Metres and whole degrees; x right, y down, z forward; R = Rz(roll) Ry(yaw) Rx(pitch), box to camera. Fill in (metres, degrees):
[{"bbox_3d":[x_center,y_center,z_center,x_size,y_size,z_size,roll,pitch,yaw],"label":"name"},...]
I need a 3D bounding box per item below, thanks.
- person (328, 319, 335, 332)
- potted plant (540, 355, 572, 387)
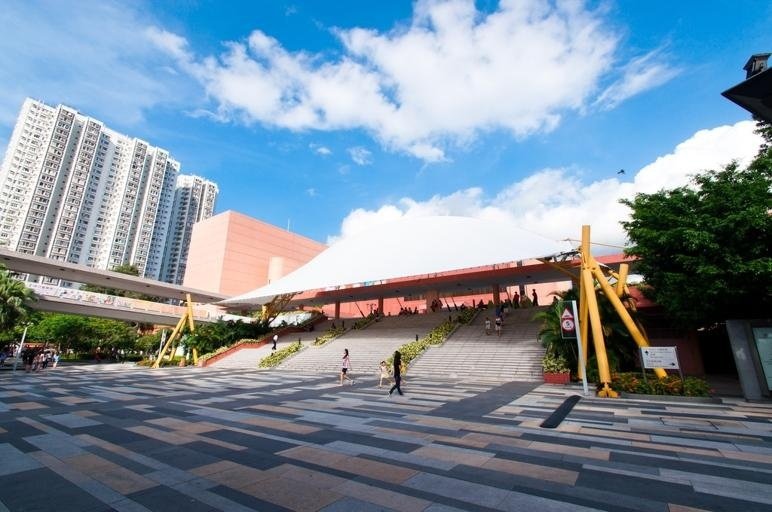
[{"bbox_3d":[-5.452,7.177,39.057,0.672,1.596,0.651,-1,4,-30],"label":"person"},{"bbox_3d":[8.122,5.698,18.829,1.375,1.202,1.156,2,-7,15],"label":"potted plant"}]
